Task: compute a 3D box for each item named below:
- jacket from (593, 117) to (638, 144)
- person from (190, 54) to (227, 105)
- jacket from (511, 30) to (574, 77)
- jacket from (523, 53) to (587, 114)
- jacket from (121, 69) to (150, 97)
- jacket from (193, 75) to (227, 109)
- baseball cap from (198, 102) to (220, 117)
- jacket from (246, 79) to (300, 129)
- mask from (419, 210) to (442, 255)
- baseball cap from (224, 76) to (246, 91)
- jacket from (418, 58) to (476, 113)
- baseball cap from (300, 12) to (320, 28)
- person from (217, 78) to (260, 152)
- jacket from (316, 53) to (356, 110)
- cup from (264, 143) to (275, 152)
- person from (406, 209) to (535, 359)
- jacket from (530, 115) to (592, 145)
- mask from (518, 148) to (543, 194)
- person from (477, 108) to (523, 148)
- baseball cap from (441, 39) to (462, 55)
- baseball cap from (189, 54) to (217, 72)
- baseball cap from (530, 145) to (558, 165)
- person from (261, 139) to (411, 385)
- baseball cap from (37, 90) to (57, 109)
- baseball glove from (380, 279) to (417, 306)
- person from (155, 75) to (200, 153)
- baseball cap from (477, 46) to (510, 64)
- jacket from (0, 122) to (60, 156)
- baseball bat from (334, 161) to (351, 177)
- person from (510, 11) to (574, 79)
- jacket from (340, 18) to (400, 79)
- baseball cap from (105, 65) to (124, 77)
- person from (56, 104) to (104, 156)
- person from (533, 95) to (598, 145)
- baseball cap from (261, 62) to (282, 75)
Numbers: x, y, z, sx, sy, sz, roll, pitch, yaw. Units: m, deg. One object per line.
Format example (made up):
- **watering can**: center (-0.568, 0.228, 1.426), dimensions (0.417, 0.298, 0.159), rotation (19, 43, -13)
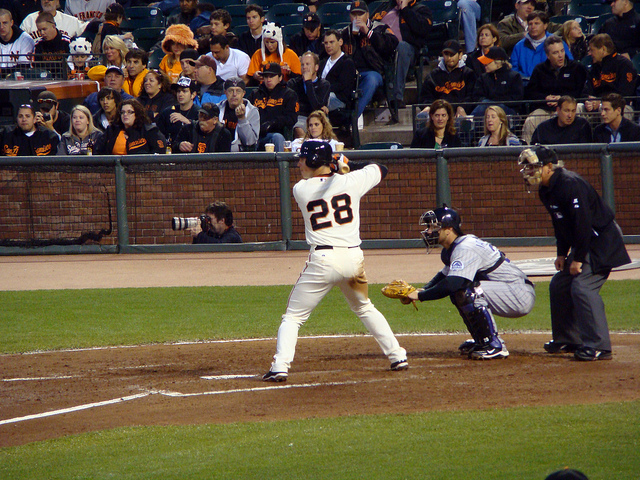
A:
- **jacket**: center (4.410, -1.806, 18.414), dimensions (0.664, 0.687, 0.385), rotation (3, 4, 25)
- **person**: center (-1.876, -2.667, 20.386), dimensions (0.615, 0.873, 0.528), rotation (18, 22, 41)
- **jacket**: center (3.627, -3.054, 20.516), dimensions (0.981, 0.944, 0.627), rotation (-1, 9, 20)
- **jacket**: center (3.745, -2.632, 19.665), dimensions (1.025, 0.695, 0.312), rotation (1, 5, 40)
- **jacket**: center (-3.152, -2.664, 20.747), dimensions (0.424, 0.455, 0.329), rotation (-3, 4, -5)
- **jacket**: center (-1.762, -2.397, 20.219), dimensions (0.571, 0.392, 0.403), rotation (-15, 42, -9)
- **baseball cap**: center (-1.709, -2.005, 18.783), dimensions (0.180, 0.158, 0.261), rotation (23, 0, 38)
- **jacket**: center (-0.914, -2.209, 20.108), dimensions (1.098, 0.881, 0.705), rotation (8, 5, 25)
- **mask**: center (1.284, -0.110, 13.871), dimensions (0.379, 0.545, 0.541), rotation (-4, -7, 5)
- **baseball cap**: center (-1.354, -2.482, 19.273), dimensions (0.270, 0.184, 0.280), rotation (-1, 4, -3)
- **jacket**: center (2.125, -2.509, 20.351), dimensions (0.977, 1.038, 0.674), rotation (-1, 9, 16)
- **baseball cap**: center (-0.172, -3.927, 21.822), dimensions (0.293, 0.273, 0.378), rotation (-2, 4, 0)
- **person**: center (-1.296, -1.983, 19.436), dimensions (0.629, 1.152, 0.623), rotation (-3, 4, -6)
- **jacket**: center (0.264, -2.628, 20.505), dimensions (0.579, 1.069, 0.806), rotation (-3, 13, -33)
- **cup**: center (-0.796, -1.434, 18.890), dimensions (0.117, 0.118, 0.122), rotation (0, 1, 0)
- **person**: center (1.727, 0.502, 14.221), dimensions (1.460, 1.767, 0.547), rotation (-4, 4, -28)
- **jacket**: center (3.613, -1.661, 18.506), dimensions (0.977, 0.615, 0.546), rotation (-3, 2, -4)
- **mask**: center (2.471, -0.849, 14.177), dimensions (0.363, 0.387, 0.298), rotation (1, 2, -10)
- **person**: center (2.723, -1.693, 18.694), dimensions (0.908, 0.629, 0.529), rotation (2, -1, 43)
- **baseball cap**: center (2.159, -3.189, 20.217), dimensions (0.299, 0.251, 0.356), rotation (-2, 4, 5)
- **baseball cap**: center (-1.924, -2.937, 20.249), dimensions (0.345, 0.212, 0.228), rotation (7, 1, -15)
- **baseball cap**: center (2.576, -0.984, 14.039), dimensions (0.273, 0.217, 0.180), rotation (-2, 4, 10)
- **person**: center (0.110, 0.199, 13.574), dimensions (1.434, 2.620, 0.539), rotation (-4, 4, -29)
- **baseball cap**: center (-4.460, -2.283, 19.900), dimensions (0.282, 0.300, 0.376), rotation (-3, 4, -9)
- **baseball glove**: center (0.823, 0.610, 14.030), dimensions (0.420, 0.231, 0.279), rotation (7, 15, 43)
- **person**: center (-2.223, -2.002, 19.542), dimensions (0.622, 1.190, 0.992), rotation (-4, 4, -26)
- **baseball cap**: center (2.818, -3.011, 19.759), dimensions (0.377, 0.237, 0.253), rotation (-6, 18, 4)
- **jacket**: center (-4.691, -1.621, 19.572), dimensions (0.950, 0.527, 0.381), rotation (-2, 4, 13)
- **baseball bat**: center (0.250, -0.808, 13.816), dimensions (0.165, 0.131, 0.168), rotation (-5, -37, 7)
- **person**: center (3.648, -3.193, 20.254), dimensions (1.084, 1.355, 0.805), rotation (6, 25, 32)
- **jacket**: center (0.875, -3.347, 21.458), dimensions (1.008, 1.025, 0.562), rotation (-2, 4, 4)
- **baseball cap**: center (-3.479, -2.856, 20.631), dimensions (0.262, 0.171, 0.367), rotation (-4, 4, -24)
- **person**: center (-3.806, -1.648, 19.629), dimensions (0.745, 1.016, 0.578), rotation (1, -6, -2)
- **person**: center (3.652, -1.742, 18.532), dimensions (0.948, 0.933, 0.486), rotation (2, 16, 8)
- **baseball cap**: center (-0.804, -2.811, 19.983), dimensions (0.300, 0.206, 0.256), rotation (-3, 4, -4)
